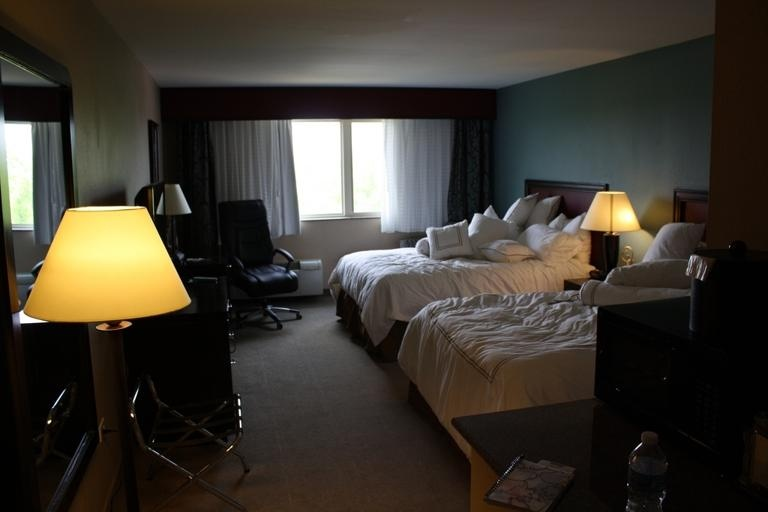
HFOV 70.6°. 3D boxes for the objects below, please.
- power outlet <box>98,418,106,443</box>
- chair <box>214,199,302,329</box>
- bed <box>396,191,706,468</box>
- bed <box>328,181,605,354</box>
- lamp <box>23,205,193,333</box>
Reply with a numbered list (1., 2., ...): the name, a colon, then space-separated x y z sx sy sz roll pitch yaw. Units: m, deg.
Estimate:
1. power outlet: -1.616 0.980 3.106 0.038 0.127 0.183 -8 15 -27
2. chair: -1.510 0.056 6.563 0.853 1.407 1.379 -5 14 -17
3. bed: 1.221 0.379 3.638 1.753 1.007 1.430 -2 8 -10
4. bed: 0.785 0.145 5.948 2.238 1.425 1.920 -6 12 -20
5. lamp: -1.221 0.052 2.408 0.691 0.552 0.683 -5 9 -35
